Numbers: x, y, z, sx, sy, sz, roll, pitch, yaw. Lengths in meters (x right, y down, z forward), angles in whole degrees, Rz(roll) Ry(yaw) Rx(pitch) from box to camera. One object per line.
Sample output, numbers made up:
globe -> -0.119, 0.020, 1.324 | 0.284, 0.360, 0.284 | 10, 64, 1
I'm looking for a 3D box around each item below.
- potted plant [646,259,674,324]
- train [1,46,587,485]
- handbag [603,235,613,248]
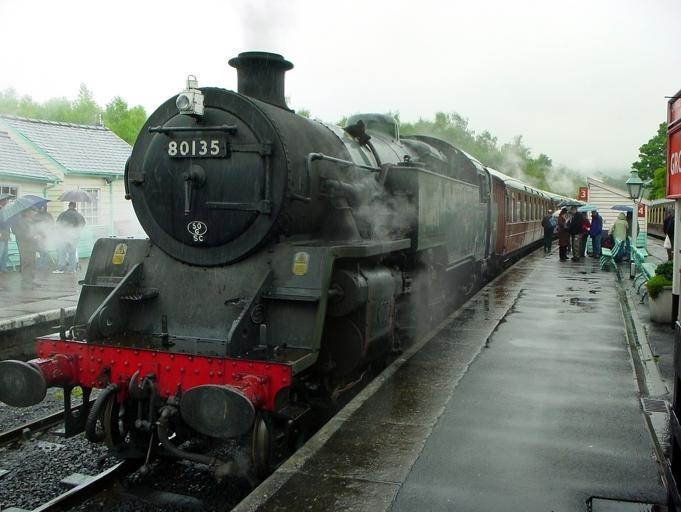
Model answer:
potted plant -> 5.410, 0.633, 9.500 | 0.403, 1.007, 0.903 | 4, 8, 29
train -> 0.073, -0.345, 9.517 | 2.618, 4.160, 10.581 | 2, 6, 22
handbag -> 10.103, -0.534, 21.157 | 0.168, 0.551, 0.286 | -8, 20, -43
